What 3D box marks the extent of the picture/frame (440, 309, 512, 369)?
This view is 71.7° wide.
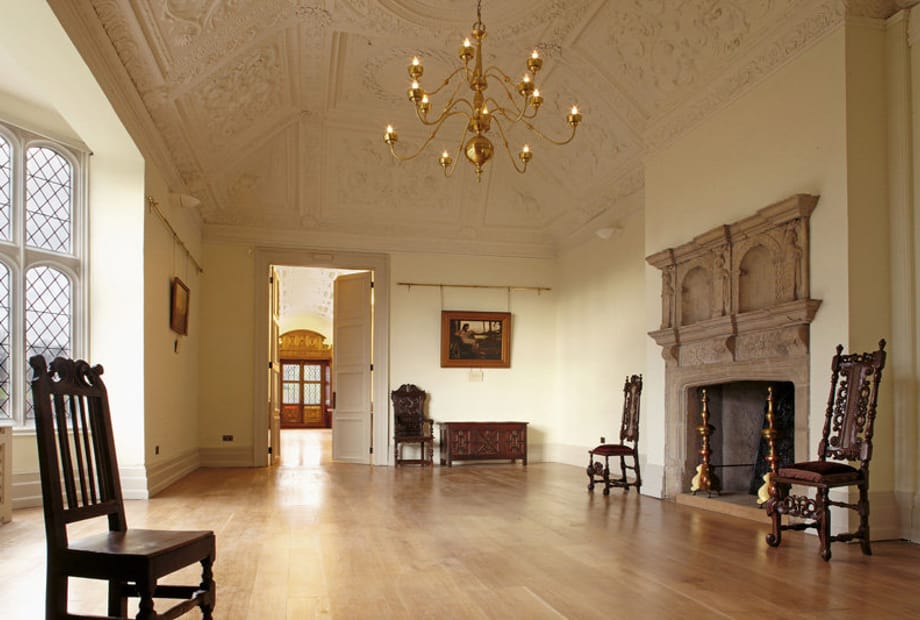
[{"bbox_3d":[0.260,0.601,13.183,1.100,0.978,0.086,2,-4,-11],"label":"picture/frame"}]

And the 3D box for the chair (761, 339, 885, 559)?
[{"bbox_3d":[3.833,1.376,6.724,1.117,2.214,0.987,-3,-10,35],"label":"chair"}]
